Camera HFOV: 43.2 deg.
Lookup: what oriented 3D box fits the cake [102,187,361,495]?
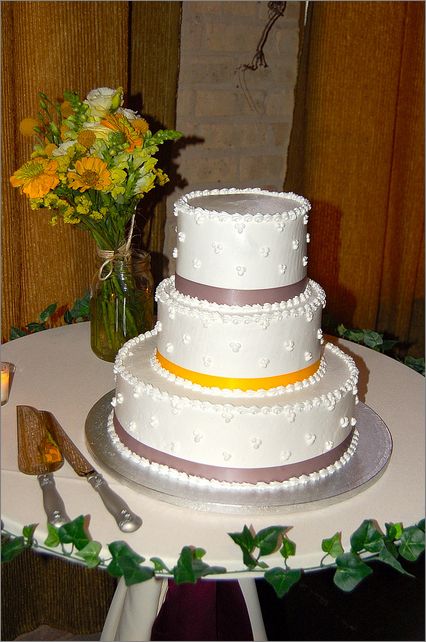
[{"bbox_3d":[0.053,0.011,1.005,0.463,0.421,0.456,0,21,-1],"label":"cake"}]

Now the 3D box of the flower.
[{"bbox_3d":[-0.263,-0.234,1.324,0.360,0.601,0.463,-5,19,-5],"label":"flower"}]
